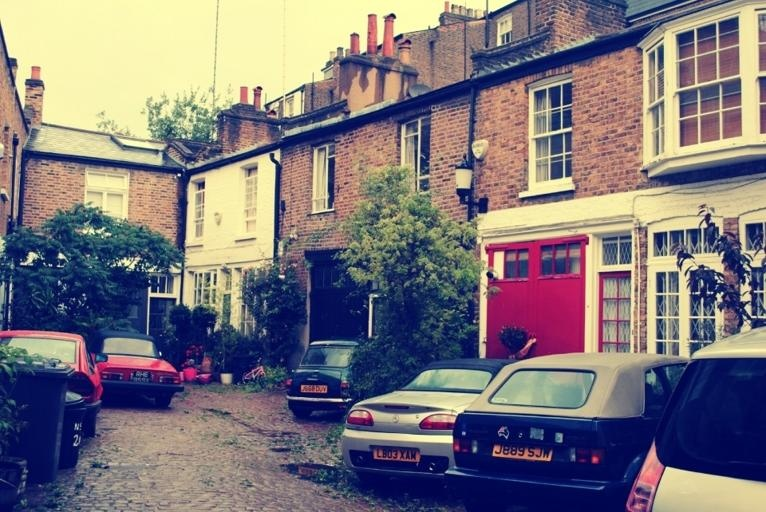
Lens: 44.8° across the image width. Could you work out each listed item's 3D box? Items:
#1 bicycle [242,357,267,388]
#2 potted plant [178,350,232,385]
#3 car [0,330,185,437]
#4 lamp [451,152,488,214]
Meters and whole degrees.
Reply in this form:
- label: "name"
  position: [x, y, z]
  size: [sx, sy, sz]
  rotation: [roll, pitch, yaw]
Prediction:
- label: "bicycle"
  position: [-3.669, 3.400, 26.900]
  size: [0.487, 0.628, 0.968]
  rotation: [10, -13, -40]
- label: "potted plant"
  position: [-5.379, 3.414, 28.272]
  size: [0.999, 0.680, 1.278]
  rotation: [-11, -21, 37]
- label: "car"
  position: [-5.942, 2.637, 20.095]
  size: [1.976, 2.029, 5.079]
  rotation: [-1, -5, 6]
- label: "lamp"
  position: [1.884, -1.621, 21.196]
  size: [0.777, 1.512, 0.661]
  rotation: [3, -5, -39]
